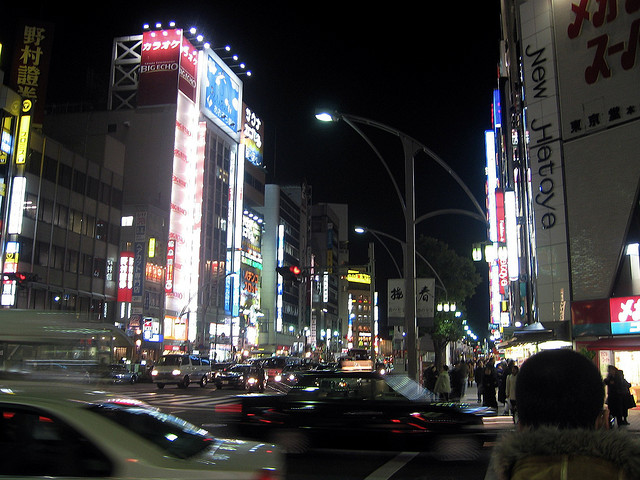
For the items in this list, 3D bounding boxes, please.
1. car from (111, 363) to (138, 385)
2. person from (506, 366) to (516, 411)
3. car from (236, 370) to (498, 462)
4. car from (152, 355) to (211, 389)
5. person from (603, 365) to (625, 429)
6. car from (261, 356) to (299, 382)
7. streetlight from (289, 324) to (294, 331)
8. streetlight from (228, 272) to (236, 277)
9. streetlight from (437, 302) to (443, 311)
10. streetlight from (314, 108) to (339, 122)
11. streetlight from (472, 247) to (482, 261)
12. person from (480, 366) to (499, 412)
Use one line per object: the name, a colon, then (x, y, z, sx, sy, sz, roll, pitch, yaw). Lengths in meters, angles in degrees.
car: (-12.974, 8.812, 39.637, 1.691, 1.022, 2.951, 4, -5, 1)
person: (6.301, 4.903, 19.761, 0.288, 1.306, 2.549, 4, 1, 18)
car: (1.151, 3.983, 13.624, 5.529, 1.881, 2.706, -4, -14, 18)
car: (-9.374, 8.848, 40.598, 2.352, 2.306, 4.609, -4, -14, 16)
person: (8.751, 4.678, 17.774, 0.583, 1.739, 1.132, 4, 2, 27)
car: (-2.772, 8.660, 41.804, 1.533, 1.409, 2.802, -6, -19, 24)
streetlight: (-5.139, 16.081, 110.186, 0.841, 0.991, 0.856, 2, 5, 9)
streetlight: (-10.353, 4.089, 71.318, 0.935, 0.340, 0.985, 1, -5, -4)
streetlight: (10.384, 5.752, 51.742, 0.525, 1.071, 0.557, 1, 3, 9)
streetlight: (0.230, -3.701, 17.768, 0.653, 0.231, 0.242, 4, 2, -8)
streetlight: (7.508, 0.659, 28.538, 0.338, 0.507, 0.769, 4, 2, 23)
person: (6.080, 5.278, 21.462, 0.589, 1.758, 0.490, 2, -51, 14)
